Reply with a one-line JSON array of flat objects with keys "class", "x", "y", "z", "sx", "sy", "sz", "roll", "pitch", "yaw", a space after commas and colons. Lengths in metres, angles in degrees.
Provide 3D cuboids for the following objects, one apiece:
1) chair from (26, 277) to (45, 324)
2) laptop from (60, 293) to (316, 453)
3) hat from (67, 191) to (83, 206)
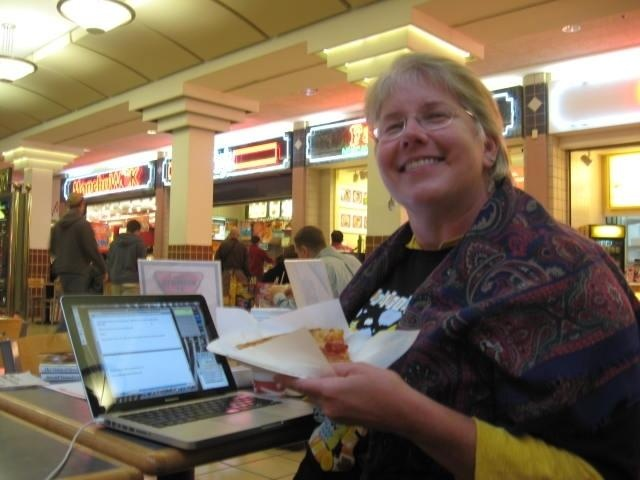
[{"class": "chair", "x": -5.291, "y": 1.127, "z": 9.785, "sx": 0.331, "sy": 0.632, "sz": 0.736, "roll": -5, "pitch": 3, "yaw": -30}, {"class": "laptop", "x": -0.455, "y": 0.367, "z": 1.534, "sx": 0.533, "sy": 0.371, "sz": 0.507, "roll": -8, "pitch": -13, "yaw": 43}, {"class": "hat", "x": -3.103, "y": -0.536, "z": 6.644, "sx": 0.141, "sy": 0.195, "sz": 0.173, "roll": 0, "pitch": -2, "yaw": 29}]
